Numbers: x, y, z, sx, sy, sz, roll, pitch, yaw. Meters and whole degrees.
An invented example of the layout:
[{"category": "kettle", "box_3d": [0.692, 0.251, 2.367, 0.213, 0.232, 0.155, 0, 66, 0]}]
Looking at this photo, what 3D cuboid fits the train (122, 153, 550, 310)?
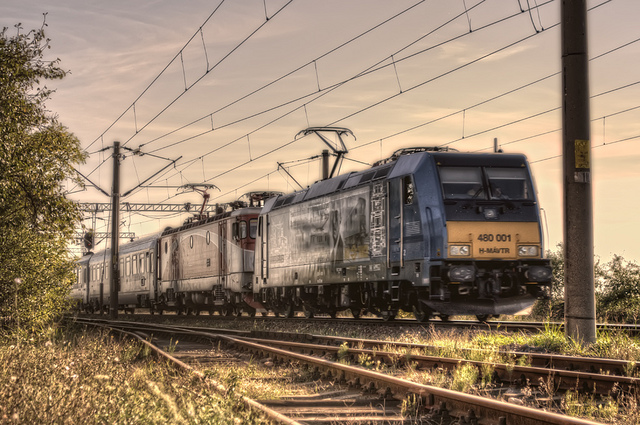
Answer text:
[{"category": "train", "box_3d": [-3.827, 2.425, 33.101, 3.461, 6.113, 35.051, 5, -12, -30]}]
